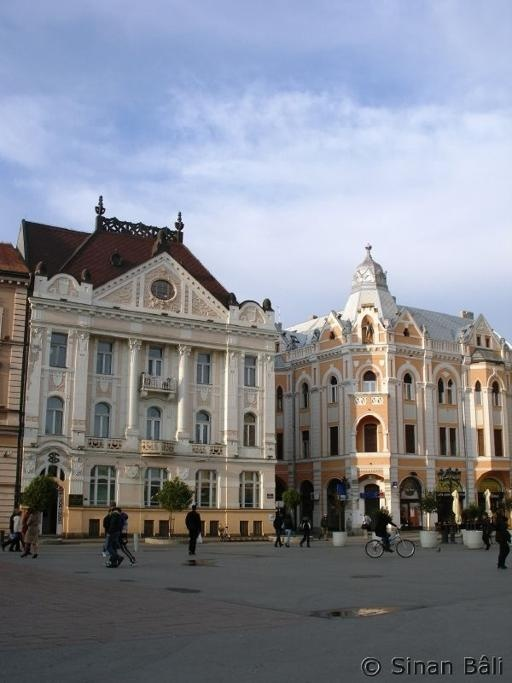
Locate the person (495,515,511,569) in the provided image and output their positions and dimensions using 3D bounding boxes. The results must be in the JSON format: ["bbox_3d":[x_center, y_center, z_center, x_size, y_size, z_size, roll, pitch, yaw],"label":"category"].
[{"bbox_3d":[6.923,5.654,21.224,0.362,1.413,1.190,-3,-12,17],"label":"person"}]
